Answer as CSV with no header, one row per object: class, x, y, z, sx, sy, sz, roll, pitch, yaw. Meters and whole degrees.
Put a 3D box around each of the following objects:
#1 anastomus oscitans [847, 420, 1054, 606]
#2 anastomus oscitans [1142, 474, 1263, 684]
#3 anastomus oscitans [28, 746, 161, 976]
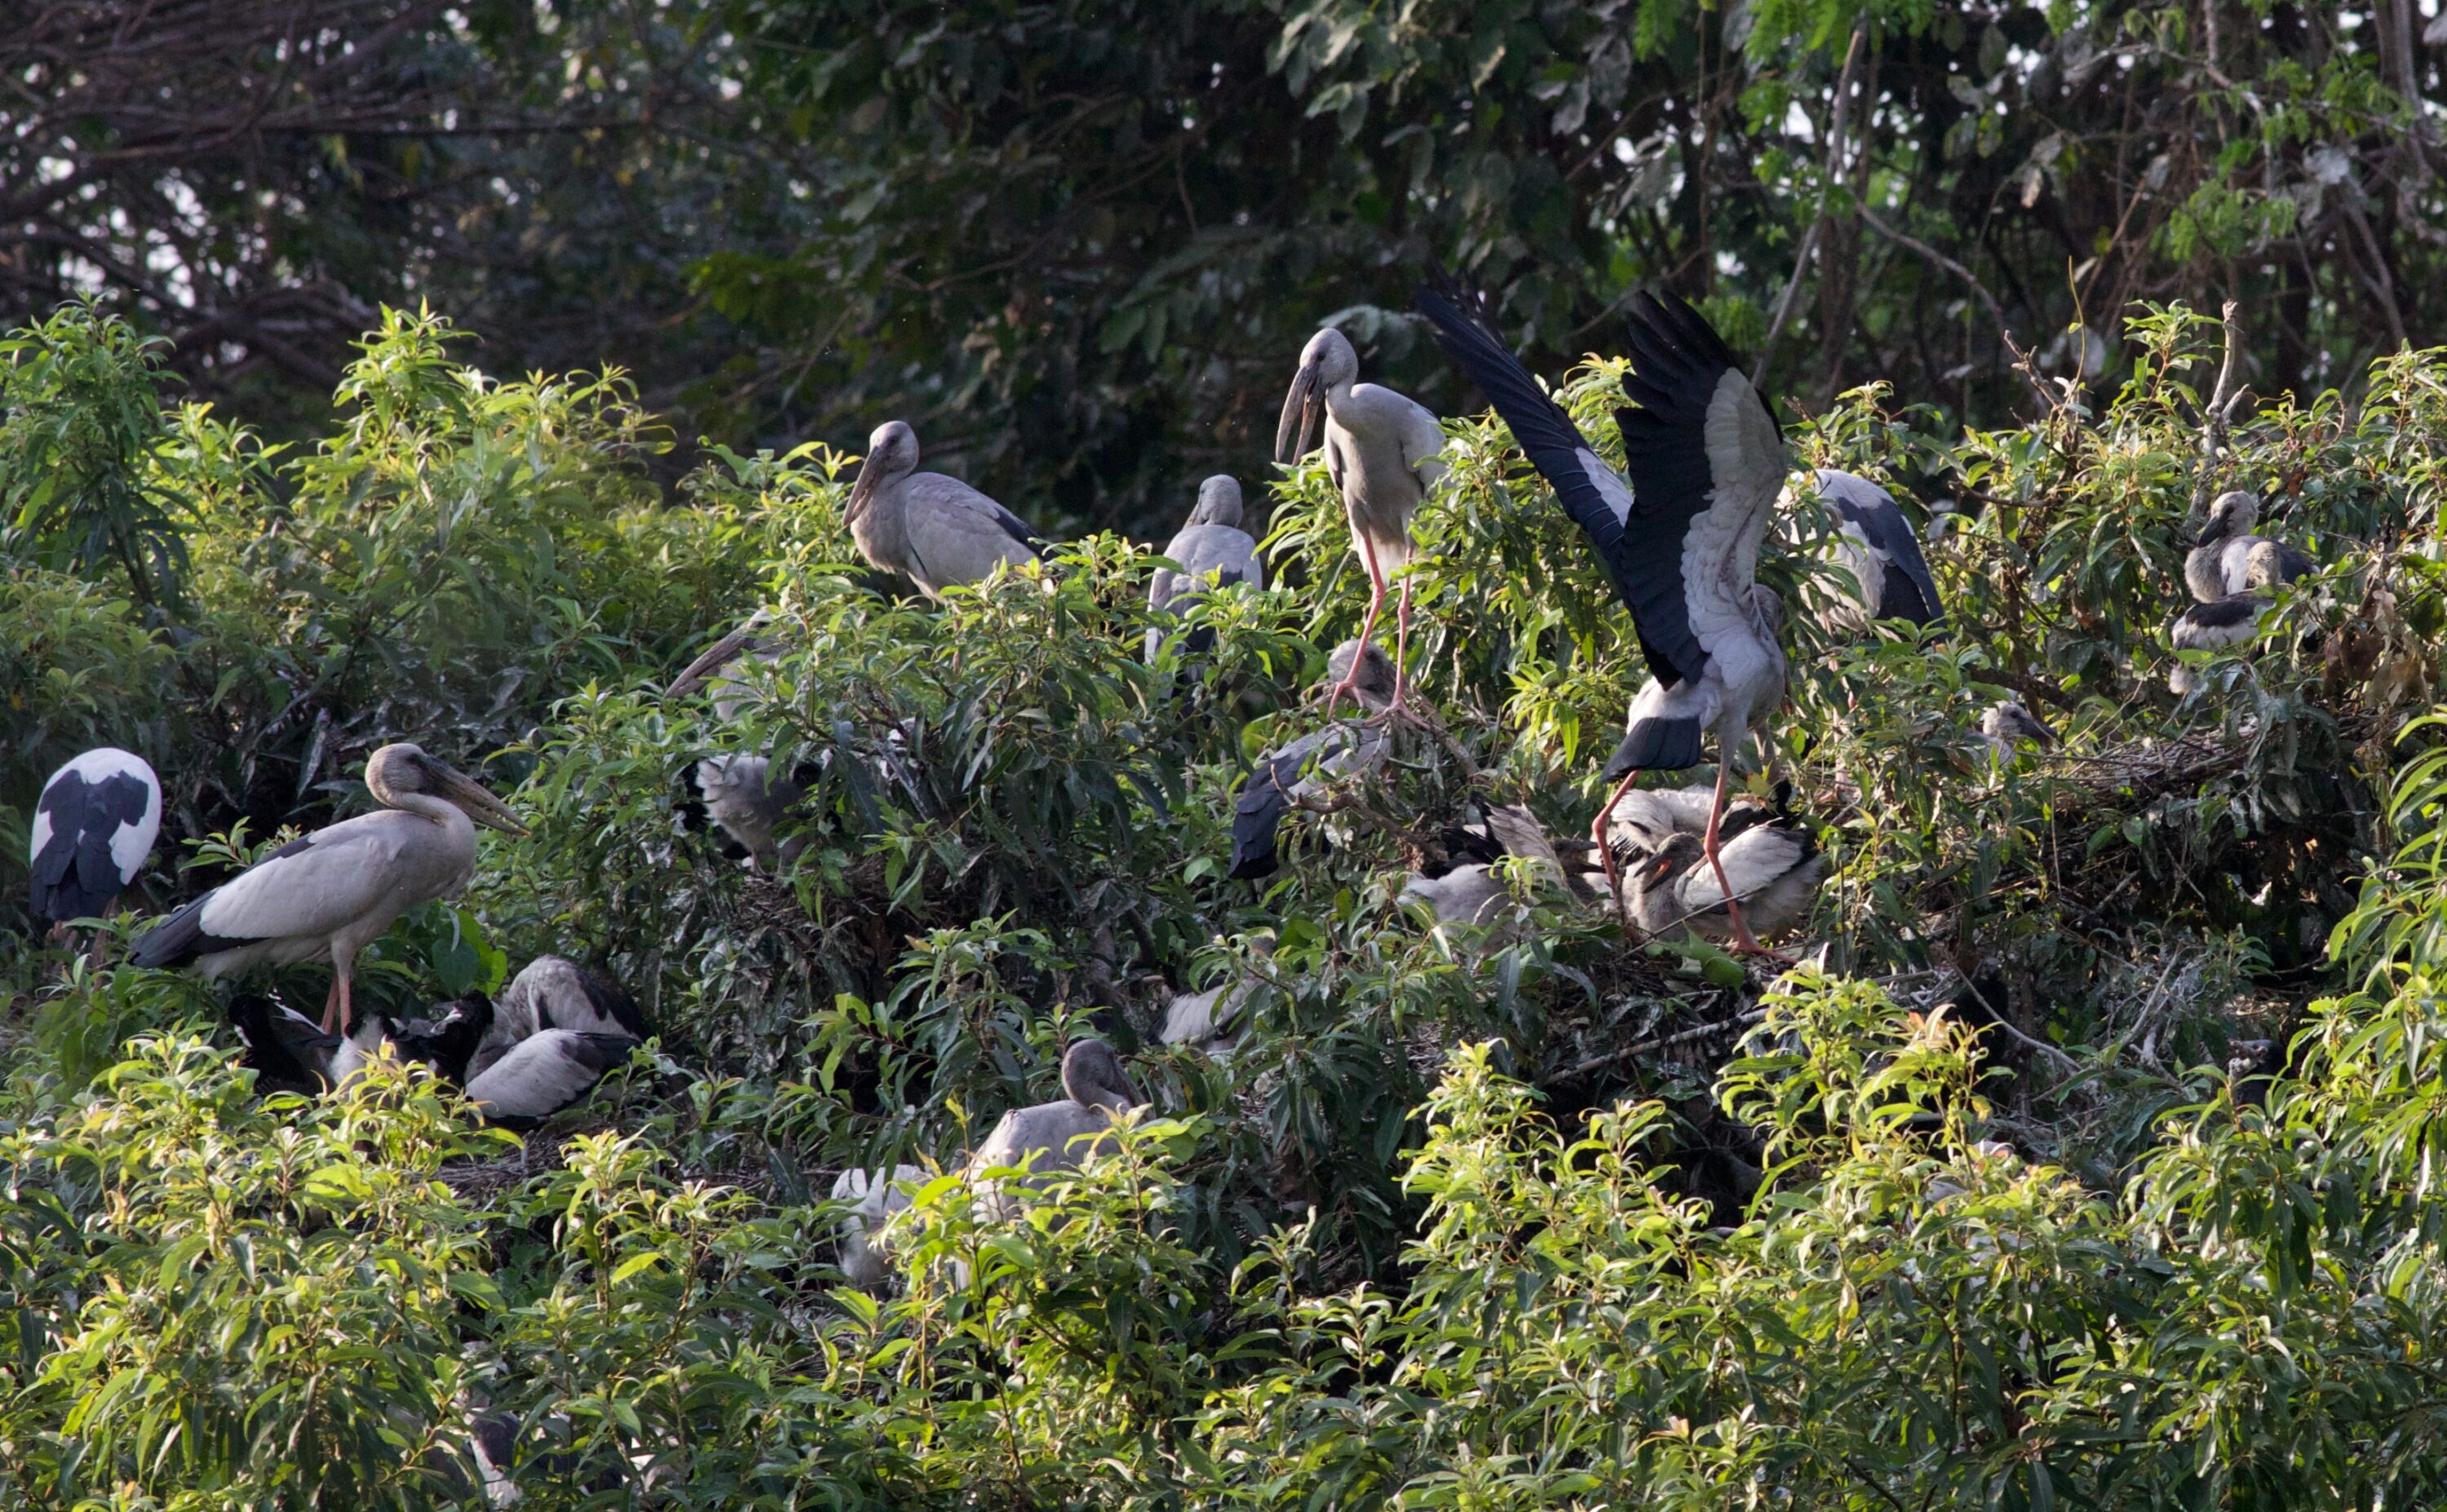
anastomus oscitans,-1.035,-0.862,12.255,0.578,0.661,0.502,-26,17,-3
anastomus oscitans,-0.060,-0.702,11.988,0.335,0.722,0.857,13,59,5
anastomus oscitans,-3.698,0.348,11.470,0.361,0.686,0.307,2,0,25
